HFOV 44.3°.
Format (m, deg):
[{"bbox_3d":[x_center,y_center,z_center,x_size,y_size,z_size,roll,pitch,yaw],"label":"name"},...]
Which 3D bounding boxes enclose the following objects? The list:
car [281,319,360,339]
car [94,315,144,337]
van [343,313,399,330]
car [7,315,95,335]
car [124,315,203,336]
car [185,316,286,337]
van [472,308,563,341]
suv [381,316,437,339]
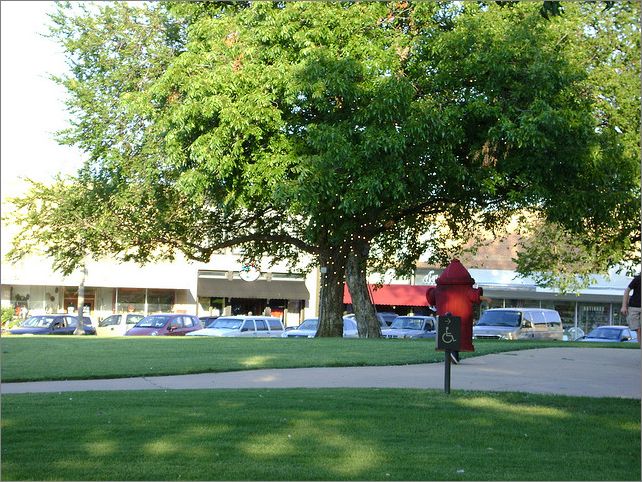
[{"bbox_3d":[0.015,3.681,32.837,2.605,1.141,1.243,3,-6,-18],"label":"car"},{"bbox_3d":[-10.583,4.302,40.878,2.706,1.514,1.651,3,2,42],"label":"car"},{"bbox_3d":[2.724,4.239,41.152,2.444,1.206,1.266,-3,0,15],"label":"van"},{"bbox_3d":[-12.576,3.927,36.537,1.457,1.055,3.070,-6,-13,33],"label":"car"},{"bbox_3d":[-6.332,3.446,32.142,1.271,1.071,2.069,-8,-13,40],"label":"car"},{"bbox_3d":[-3.163,3.587,32.659,2.566,1.137,1.432,9,-12,-42],"label":"car"},{"bbox_3d":[7.711,3.293,31.207,3.803,1.676,1.828,8,-12,-44],"label":"van"},{"bbox_3d":[3.733,3.631,33.157,1.320,0.840,1.971,-4,-8,41],"label":"suv"}]
